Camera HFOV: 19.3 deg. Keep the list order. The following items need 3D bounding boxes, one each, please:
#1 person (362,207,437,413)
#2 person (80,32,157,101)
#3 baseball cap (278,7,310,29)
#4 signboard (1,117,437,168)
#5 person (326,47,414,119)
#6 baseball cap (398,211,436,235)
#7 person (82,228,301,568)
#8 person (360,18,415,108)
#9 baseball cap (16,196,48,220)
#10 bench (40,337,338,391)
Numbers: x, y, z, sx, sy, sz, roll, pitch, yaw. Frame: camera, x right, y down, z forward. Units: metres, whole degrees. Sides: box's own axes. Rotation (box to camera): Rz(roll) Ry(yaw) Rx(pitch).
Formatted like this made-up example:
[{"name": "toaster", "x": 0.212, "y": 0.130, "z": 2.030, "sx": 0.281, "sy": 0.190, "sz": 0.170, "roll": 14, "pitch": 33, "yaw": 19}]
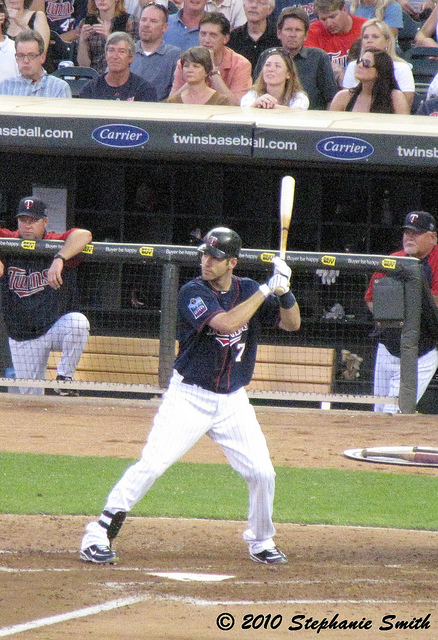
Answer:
[{"name": "person", "x": 1.364, "y": -0.075, "z": 9.714, "sx": 0.520, "sy": 1.431, "sz": 1.540, "roll": 1, "pitch": 3, "yaw": 7}, {"name": "person", "x": -0.829, "y": -2.069, "z": 10.799, "sx": 0.790, "sy": 0.669, "sz": 0.375, "roll": 6, "pitch": 8, "yaw": 7}, {"name": "baseball cap", "x": 0.621, "y": -2.525, "z": 10.752, "sx": 0.177, "sy": 0.119, "sz": 0.202, "roll": 0, "pitch": 3, "yaw": -25}, {"name": "signboard", "x": -0.149, "y": -1.340, "z": 9.787, "sx": 2.862, "sy": 0.408, "sz": 0.114, "roll": 3, "pitch": 13, "yaw": 7}, {"name": "person", "x": 1.232, "y": -1.924, "z": 10.459, "sx": 0.668, "sy": 0.676, "sz": 1.028, "roll": 1, "pitch": 3, "yaw": 2}, {"name": "baseball cap", "x": 1.436, "y": -0.680, "z": 9.162, "sx": 0.153, "sy": 0.123, "sz": 0.234, "roll": 3, "pitch": -1, "yaw": 41}, {"name": "person", "x": -0.097, "y": 0.374, "z": 6.283, "sx": 1.027, "sy": 1.632, "sz": 0.473, "roll": 1, "pitch": 4, "yaw": -9}, {"name": "person", "x": 1.329, "y": -1.969, "z": 10.510, "sx": 0.391, "sy": 0.977, "sz": 0.367, "roll": -3, "pitch": 8, "yaw": 14}, {"name": "baseball cap", "x": -1.324, "y": -0.793, "z": 9.209, "sx": 0.209, "sy": 0.154, "sz": 0.211, "roll": 0, "pitch": 3, "yaw": -19}, {"name": "bench", "x": -0.228, "y": 0.357, "z": 9.347, "sx": 2.306, "sy": 0.396, "sz": 0.460, "roll": -1, "pitch": 4, "yaw": -3}]
